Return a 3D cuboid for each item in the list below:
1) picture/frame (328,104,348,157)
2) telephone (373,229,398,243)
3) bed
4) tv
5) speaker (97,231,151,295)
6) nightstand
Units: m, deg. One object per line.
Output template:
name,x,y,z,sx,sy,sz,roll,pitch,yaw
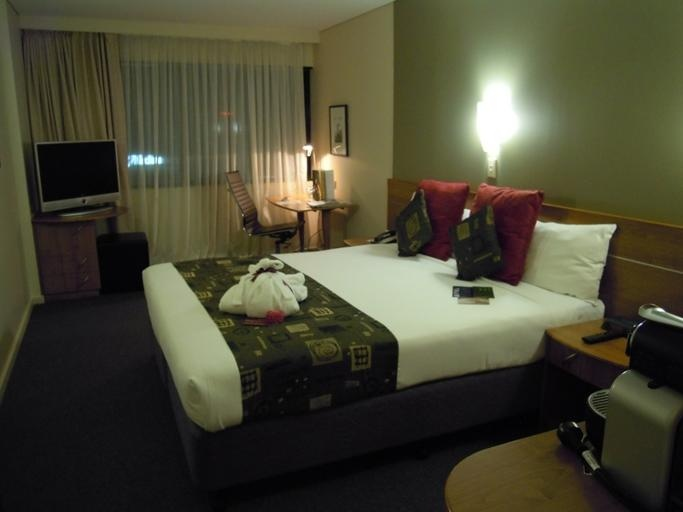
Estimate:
picture/frame,-0.038,-1.572,6.105,0.022,0.621,0.496,-7,15,-24
telephone,0.417,-0.188,4.754,0.164,0.058,0.130,-13,15,-22
bed,0.083,0.659,2.722,1.511,0.413,1.647,-6,14,-21
tv,-2.842,-0.838,5.202,0.078,0.645,0.784,9,14,32
speaker,-2.318,0.041,5.478,0.584,0.691,0.600,-2,9,-19
nightstand,1.332,0.648,2.726,0.390,0.392,0.302,14,22,42
